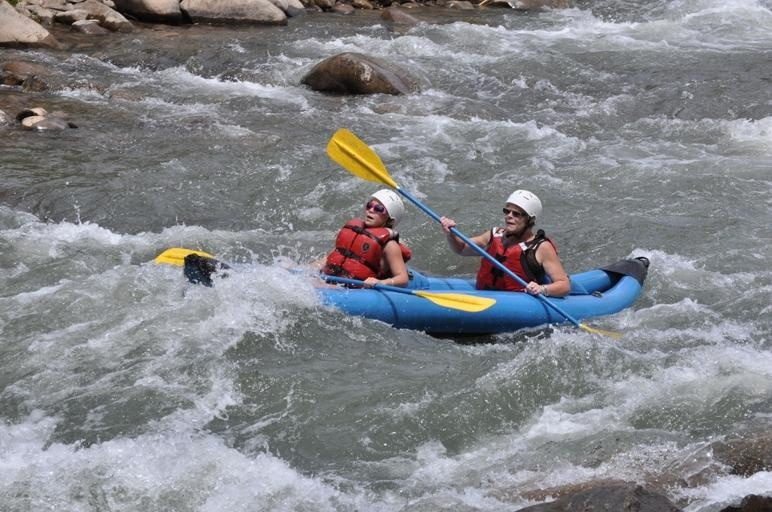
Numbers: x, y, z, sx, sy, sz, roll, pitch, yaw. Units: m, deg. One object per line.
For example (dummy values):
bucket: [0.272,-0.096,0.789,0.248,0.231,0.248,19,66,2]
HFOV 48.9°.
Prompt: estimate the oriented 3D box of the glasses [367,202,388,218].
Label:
glasses: [-0.130,-0.533,9.871,0.208,0.176,0.065,15,67,14]

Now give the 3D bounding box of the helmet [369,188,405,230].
helmet: [0.037,-0.570,10.069,0.402,0.401,0.356,-30,23,-28]

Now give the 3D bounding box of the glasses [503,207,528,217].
glasses: [1.482,-0.499,9.945,0.290,0.105,0.083,8,34,26]
